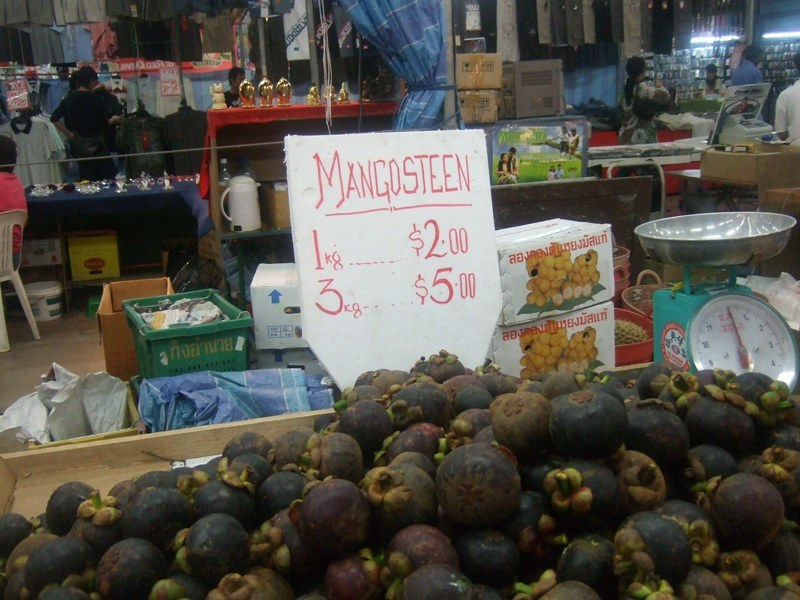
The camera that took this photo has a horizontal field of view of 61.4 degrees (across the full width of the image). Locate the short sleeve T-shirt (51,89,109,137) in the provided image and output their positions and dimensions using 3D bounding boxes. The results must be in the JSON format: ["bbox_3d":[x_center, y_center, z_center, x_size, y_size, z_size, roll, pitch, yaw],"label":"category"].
[{"bbox_3d":[-3.474,-2.031,7.349,0.487,0.576,0.313,-6,9,2],"label":"short sleeve T-shirt"}]

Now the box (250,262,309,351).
[{"bbox_3d":[-0.679,-0.013,3.836,0.263,0.427,0.537,-1,21,-15],"label":"box"}]

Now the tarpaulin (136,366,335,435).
[{"bbox_3d":[-0.766,0.426,3.041,0.550,0.223,0.420,-2,8,-26],"label":"tarpaulin"}]

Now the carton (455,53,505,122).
[{"bbox_3d":[0.615,-1.515,4.822,0.421,0.475,0.353,7,13,25],"label":"carton"}]

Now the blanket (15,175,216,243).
[{"bbox_3d":[-2.498,-0.879,5.869,1.044,0.302,1.131,-8,18,-19],"label":"blanket"}]

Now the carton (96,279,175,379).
[{"bbox_3d":[-1.739,0.117,4.461,0.452,0.550,0.699,-5,17,-23],"label":"carton"}]

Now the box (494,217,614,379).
[{"bbox_3d":[0.614,0.049,3.025,0.616,0.699,0.558,-6,13,-12],"label":"box"}]
